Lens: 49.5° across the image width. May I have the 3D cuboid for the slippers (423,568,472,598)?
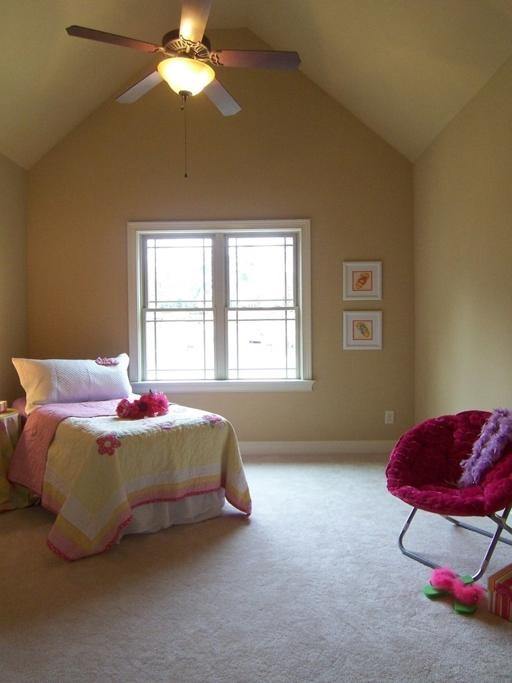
[{"bbox_3d":[0.740,0.953,2.200,0.107,0.037,0.105,-8,12,2],"label":"slippers"}]

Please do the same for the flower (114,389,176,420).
[{"bbox_3d":[-0.646,0.365,3.165,0.290,0.115,0.226,-2,4,-23],"label":"flower"}]

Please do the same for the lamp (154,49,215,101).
[{"bbox_3d":[-0.309,-1.167,2.485,0.200,0.078,0.198,2,-7,-5],"label":"lamp"}]

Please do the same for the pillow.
[{"bbox_3d":[-1.183,0.268,3.715,0.804,0.364,0.304,-1,-3,-39],"label":"pillow"}]

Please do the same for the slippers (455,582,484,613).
[{"bbox_3d":[0.805,0.969,2.119,0.099,0.068,0.167,2,4,32],"label":"slippers"}]

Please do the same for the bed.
[{"bbox_3d":[-0.889,0.505,3.337,0.942,0.838,1.389,-2,2,-35],"label":"bed"}]
